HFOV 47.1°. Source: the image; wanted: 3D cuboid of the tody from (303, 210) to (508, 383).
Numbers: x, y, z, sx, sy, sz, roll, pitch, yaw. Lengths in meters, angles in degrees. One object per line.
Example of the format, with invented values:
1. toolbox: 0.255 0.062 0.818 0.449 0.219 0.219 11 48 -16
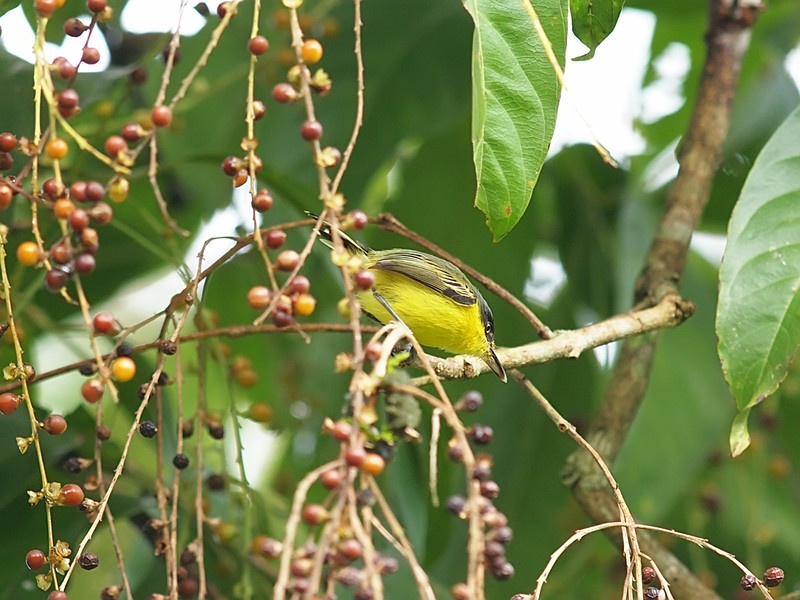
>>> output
1. tody: 0.038 -0.014 3.392 0.293 0.743 0.237 -36 -9 -19
